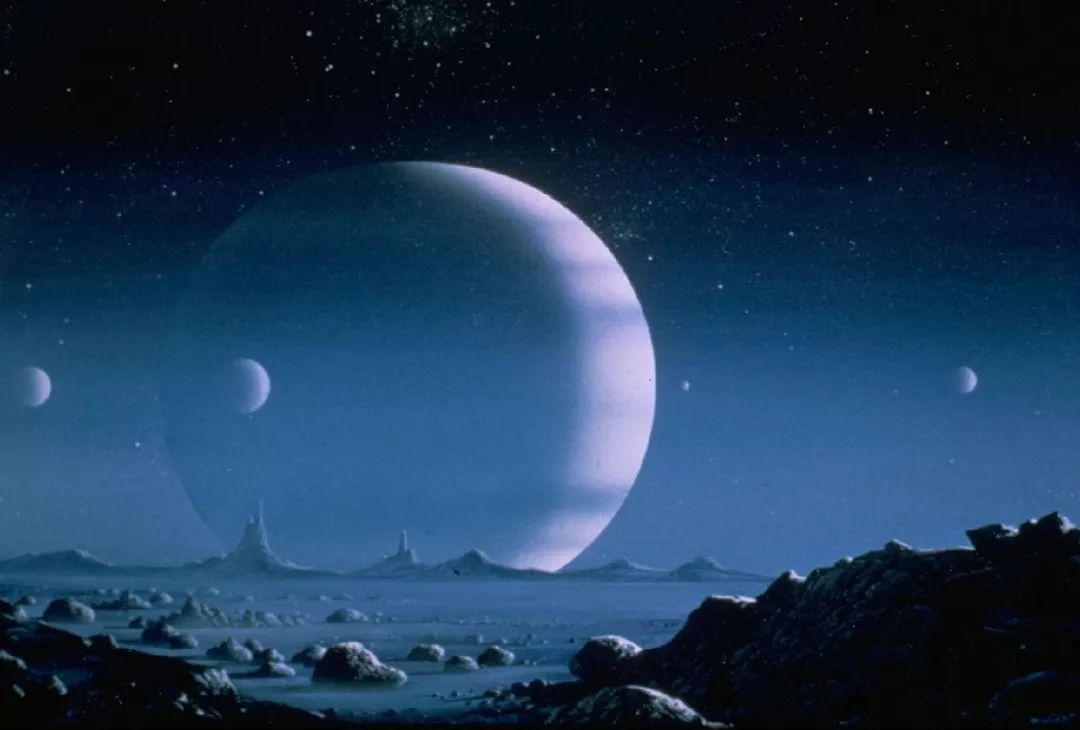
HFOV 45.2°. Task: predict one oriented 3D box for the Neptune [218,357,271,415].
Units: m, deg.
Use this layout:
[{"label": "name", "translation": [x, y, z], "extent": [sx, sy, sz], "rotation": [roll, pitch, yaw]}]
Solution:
[{"label": "Neptune", "translation": [-4.482, 0.417, 19.680], "extent": [0.806, 1.030, 0.858], "rotation": [-2, -7, 18]}]
